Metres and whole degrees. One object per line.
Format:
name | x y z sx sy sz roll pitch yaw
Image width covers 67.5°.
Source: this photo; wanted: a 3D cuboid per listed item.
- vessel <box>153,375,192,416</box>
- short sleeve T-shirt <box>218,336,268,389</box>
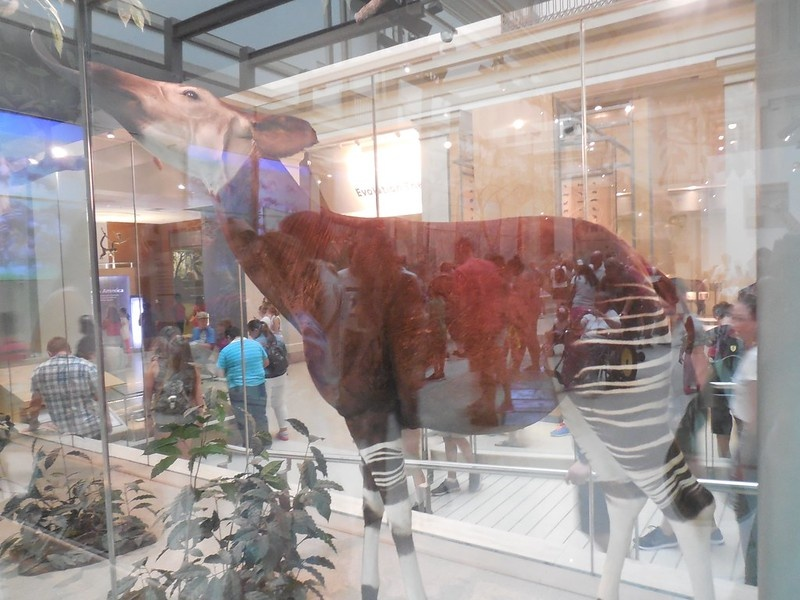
vessel | -0.825 0.352 2.189 0.137 0.138 0.076 1 -8 -1
short sleeve T-shirt | -0.568 0.228 2.154 0.195 0.177 0.109 -7 8 -34
